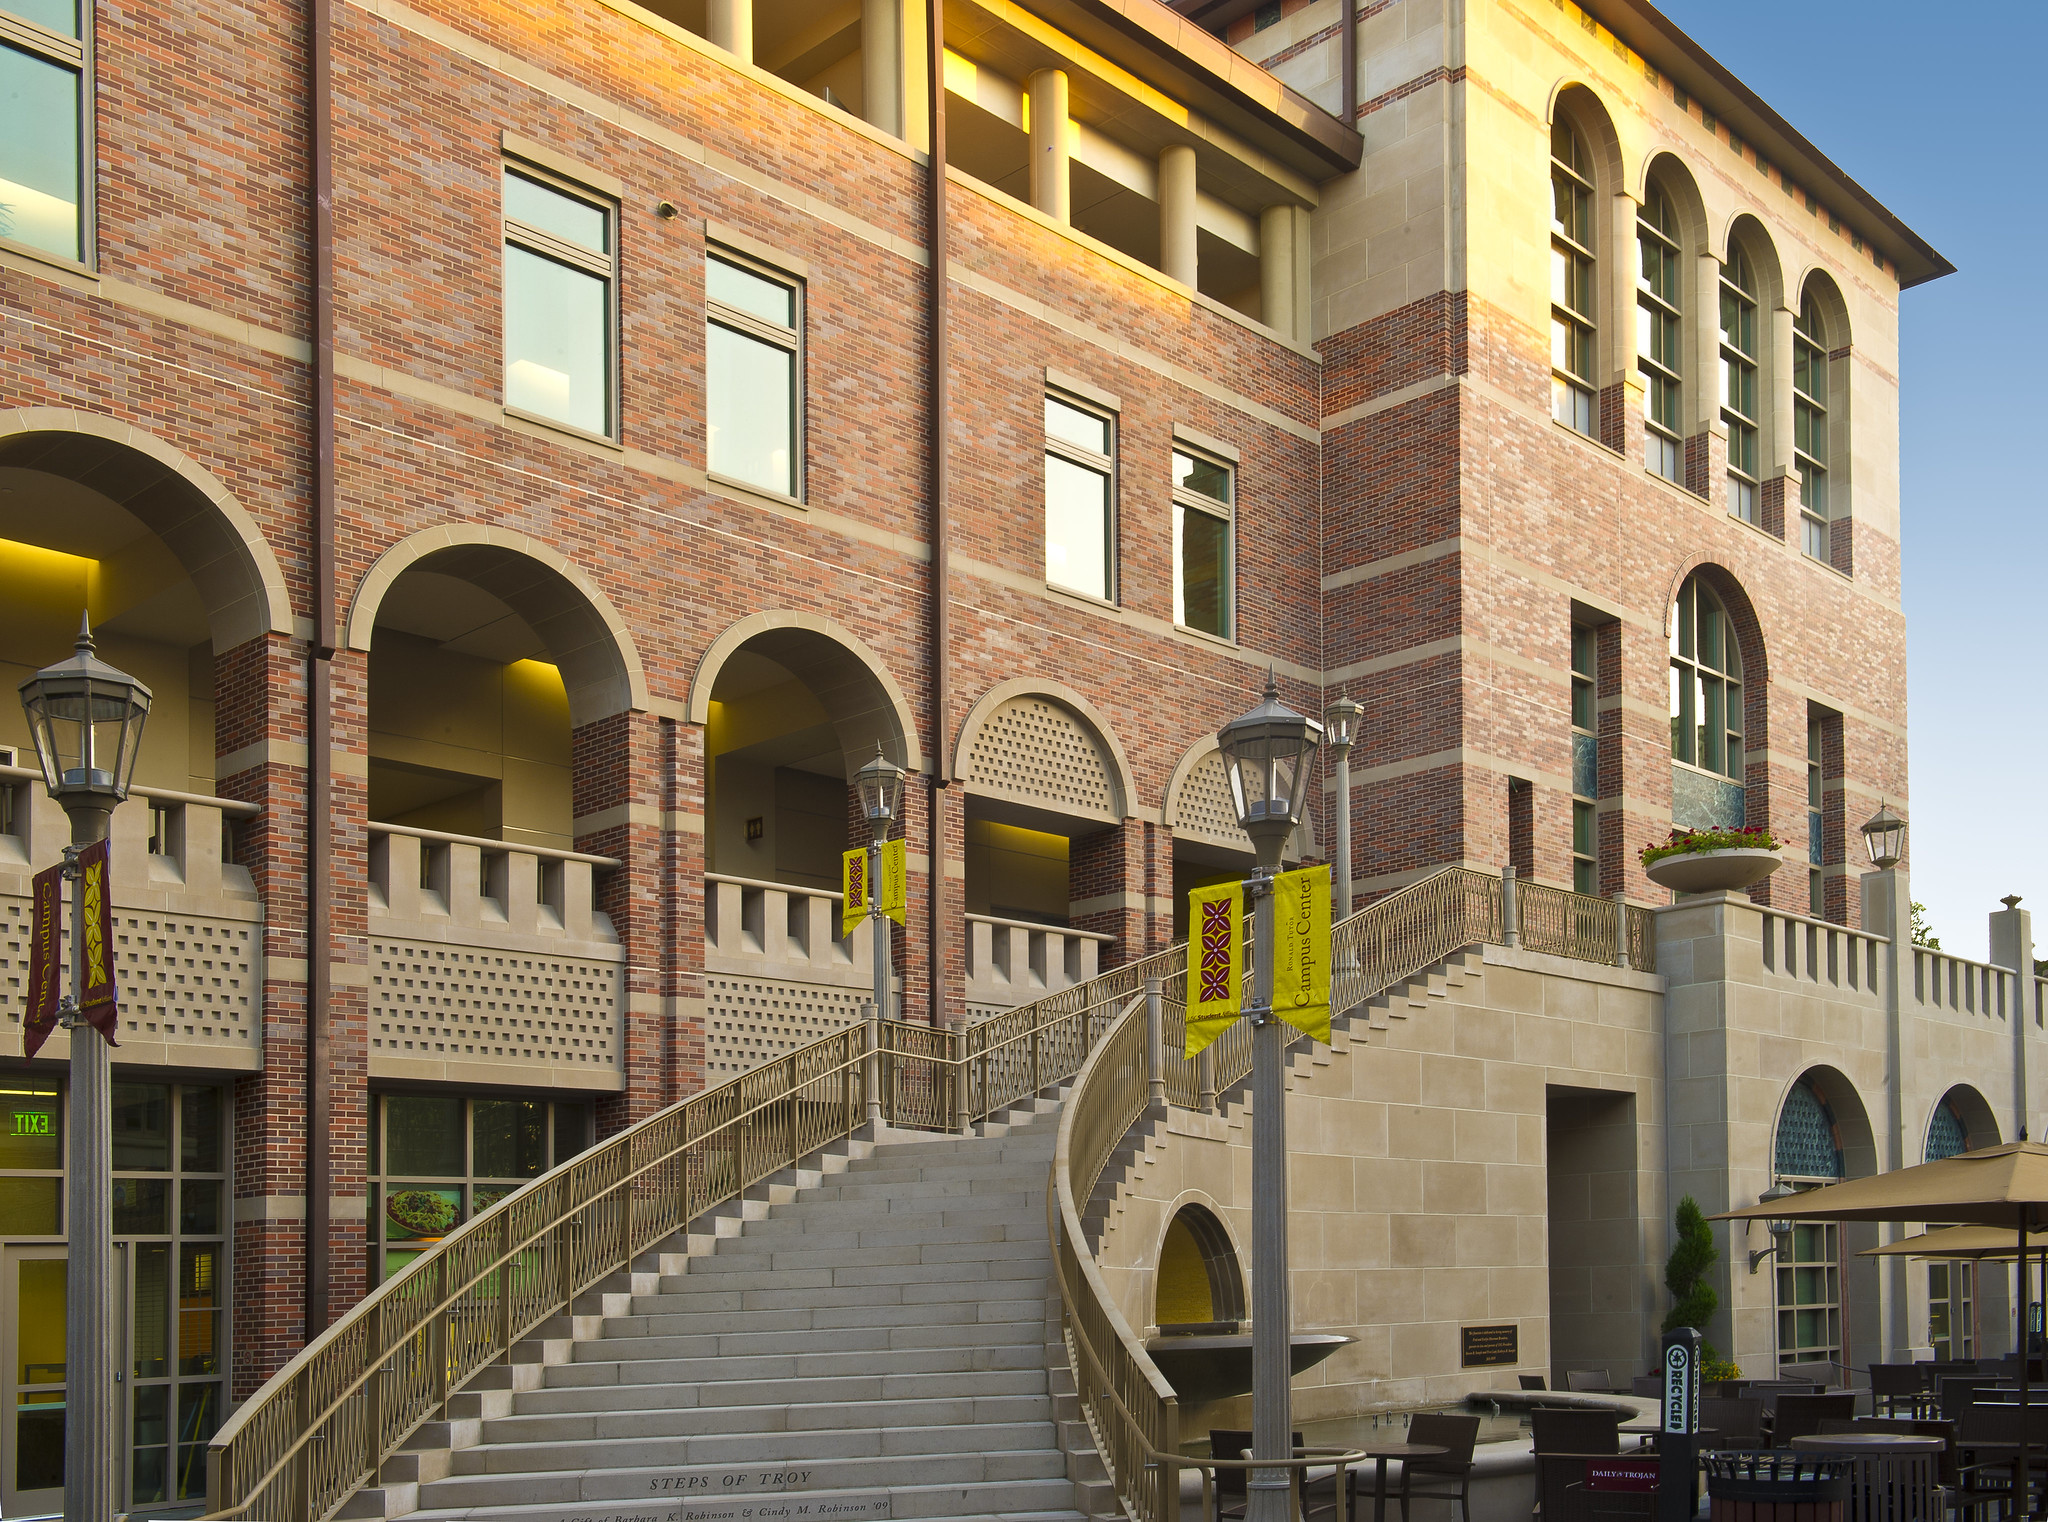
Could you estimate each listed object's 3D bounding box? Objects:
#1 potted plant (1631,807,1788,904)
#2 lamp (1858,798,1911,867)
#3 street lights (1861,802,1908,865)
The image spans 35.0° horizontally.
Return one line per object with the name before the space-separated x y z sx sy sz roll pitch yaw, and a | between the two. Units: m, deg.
potted plant | 9.745 1.210 45.874 1.371 0.671 1.378 -6 -15 19
lamp | 13.124 1.087 49.549 0.859 1.237 0.990 1 -8 5
street lights | 13.362 1.113 50.406 0.766 1.080 0.838 4 -12 -9
